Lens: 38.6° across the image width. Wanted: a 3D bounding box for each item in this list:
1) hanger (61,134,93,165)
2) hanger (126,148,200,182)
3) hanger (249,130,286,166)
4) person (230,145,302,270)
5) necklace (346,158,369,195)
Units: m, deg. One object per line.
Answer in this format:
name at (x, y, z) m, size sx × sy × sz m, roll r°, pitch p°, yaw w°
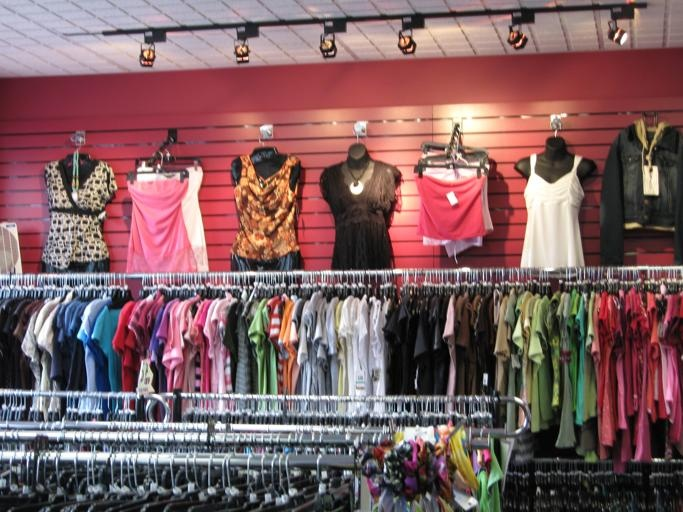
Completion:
hanger at (-2.567, -1.049, 9.516) m, size 0.257 × 0.558 × 0.052 m, roll 1°, pitch -15°, yaw 1°
hanger at (-1.673, -0.869, 9.312) m, size 0.676 × 0.335 × 0.400 m, roll -2°, pitch -6°, yaw -3°
hanger at (-0.702, -1.017, 9.035) m, size 0.317 × 0.058 × 0.532 m, roll 1°, pitch -50°, yaw -3°
person at (-0.693, -0.450, 8.969) m, size 0.642 × 1.161 × 0.270 m, roll -1°, pitch -5°, yaw -9°
necklace at (0.152, -0.730, 8.929) m, size 0.303 × 0.483 × 0.051 m, roll 0°, pitch -33°, yaw 4°
